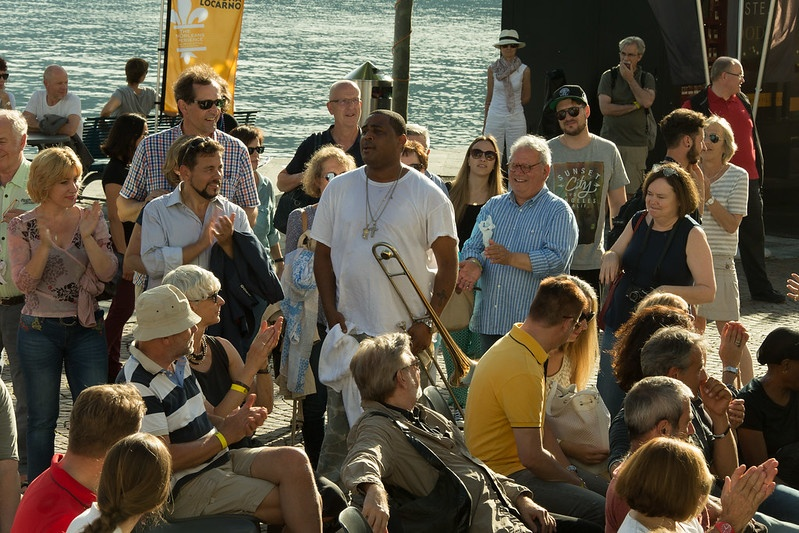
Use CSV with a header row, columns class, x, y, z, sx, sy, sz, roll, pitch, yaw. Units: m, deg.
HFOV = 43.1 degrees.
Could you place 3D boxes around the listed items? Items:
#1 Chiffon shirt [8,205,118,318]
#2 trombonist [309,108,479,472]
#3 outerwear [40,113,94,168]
class,x,y,z,sx,sy,sz,roll,pitch,yaw
Chiffon shirt,-2.808,-0.034,8.303,0.802,0.867,0.483,3,-14,-33
trombonist,-0.125,-0.275,7.913,1.173,1.836,0.394,3,8,-1
outerwear,-4.904,-1.809,14.767,0.745,0.801,0.538,1,8,-21
